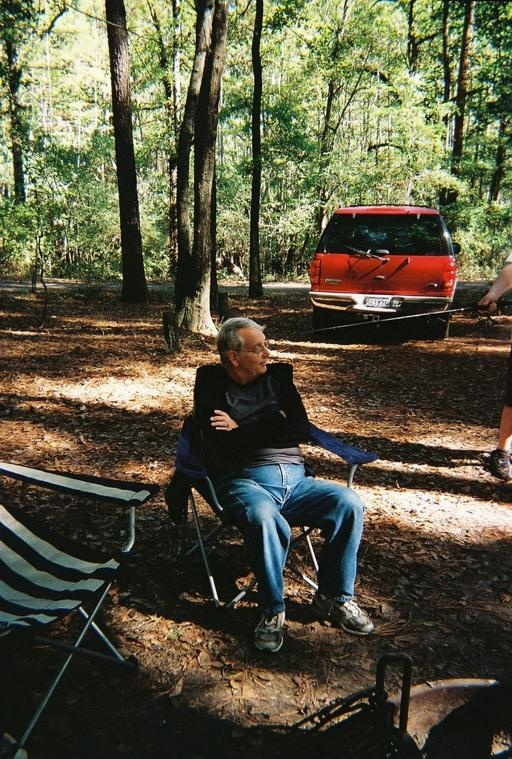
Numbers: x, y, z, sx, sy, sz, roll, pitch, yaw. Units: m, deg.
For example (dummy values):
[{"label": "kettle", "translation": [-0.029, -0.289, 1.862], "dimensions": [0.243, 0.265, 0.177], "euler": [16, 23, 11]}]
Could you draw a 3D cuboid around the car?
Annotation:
[{"label": "car", "translation": [1.578, -1.483, 8.068], "dimensions": [1.783, 1.438, 0.715], "euler": [7, 15, 17]}]
